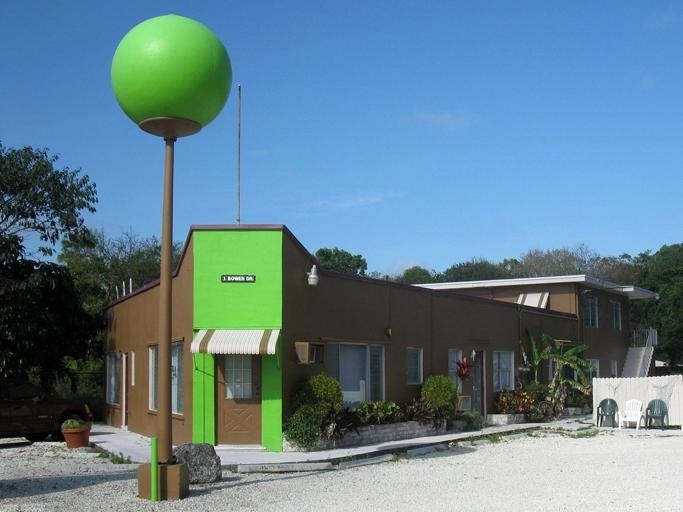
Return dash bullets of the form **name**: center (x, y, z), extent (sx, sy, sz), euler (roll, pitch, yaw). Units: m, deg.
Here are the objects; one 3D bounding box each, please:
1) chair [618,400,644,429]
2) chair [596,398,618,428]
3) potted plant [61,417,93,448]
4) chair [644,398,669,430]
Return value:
- **chair**: center (11.606, 6.349, 30.947), extent (0.972, 1.098, 1.849), euler (-7, -8, 25)
- **chair**: center (10.773, 6.349, 31.340), extent (0.933, 1.664, 1.058), euler (-2, -14, 17)
- **potted plant**: center (-8.464, 5.629, 24.613), extent (0.715, 0.877, 0.821), euler (-3, -6, 5)
- **chair**: center (12.391, 6.113, 30.566), extent (1.028, 1.694, 1.093), euler (-3, -16, 22)
